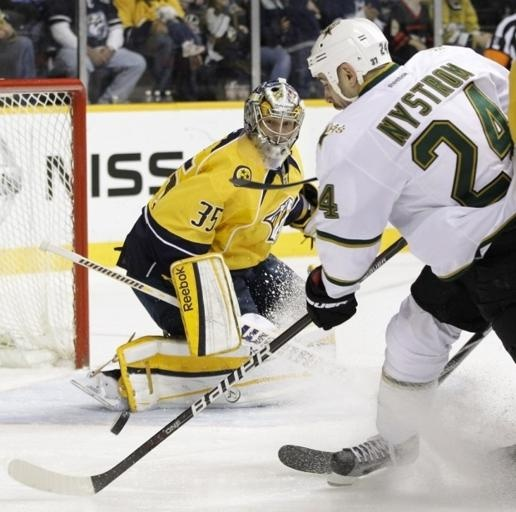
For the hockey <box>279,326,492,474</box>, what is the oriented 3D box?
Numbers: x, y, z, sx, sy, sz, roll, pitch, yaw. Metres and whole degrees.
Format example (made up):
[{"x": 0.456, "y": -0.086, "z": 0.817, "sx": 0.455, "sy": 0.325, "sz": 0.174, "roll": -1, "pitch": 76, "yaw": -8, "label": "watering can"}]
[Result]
[{"x": 0.451, "y": 0.537, "z": 2.539, "sx": 0.930, "sy": 0.087, "sz": 0.162, "roll": -26, "pitch": 51, "yaw": -5, "label": "hockey"}]

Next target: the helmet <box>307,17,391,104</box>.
[{"x": 0.281, "y": -0.579, "z": 2.068, "sx": 0.311, "sy": 0.247, "sz": 0.221, "roll": 12, "pitch": 37, "yaw": 28, "label": "helmet"}]

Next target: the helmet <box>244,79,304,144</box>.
[{"x": 0.069, "y": -0.557, "z": 2.735, "sx": 0.261, "sy": 0.263, "sz": 0.191, "roll": -12, "pitch": 17, "yaw": -35, "label": "helmet"}]
